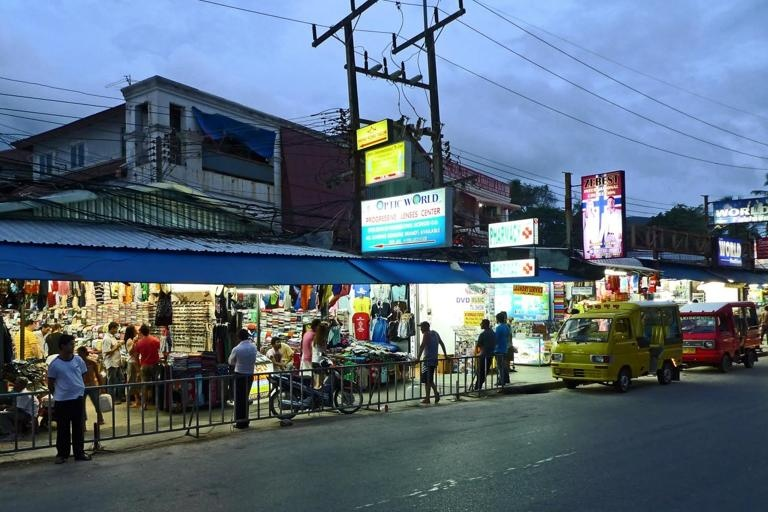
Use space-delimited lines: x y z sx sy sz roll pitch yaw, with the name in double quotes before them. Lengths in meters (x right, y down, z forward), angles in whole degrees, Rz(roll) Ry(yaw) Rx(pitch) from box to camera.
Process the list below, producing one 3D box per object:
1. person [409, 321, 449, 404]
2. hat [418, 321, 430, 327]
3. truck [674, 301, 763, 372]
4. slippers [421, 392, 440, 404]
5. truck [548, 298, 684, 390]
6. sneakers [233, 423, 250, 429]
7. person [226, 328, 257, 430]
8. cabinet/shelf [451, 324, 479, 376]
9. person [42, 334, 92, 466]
"person" 1.398 3.175 25.508 0.730 2.418 1.564 -2 -7 4
"hat" 1.238 2.054 25.368 0.237 0.165 0.329 7 17 39
"truck" 12.383 2.987 31.596 2.155 2.004 3.590 -10 -14 43
"slippers" 1.359 4.239 25.116 0.674 0.466 0.225 1 -7 -1
"truck" 7.646 2.957 27.896 4.446 2.420 2.392 5 -9 -40
"sneakers" -3.756 4.413 22.101 0.434 0.147 0.265 0 -6 -14
"person" -3.768 3.196 22.217 0.653 2.568 0.758 0 -7 -10
"cabinet/shelf" 3.226 3.502 31.470 1.432 1.989 1.339 2 -7 -5
"person" -7.396 3.269 19.721 0.942 2.898 0.500 1 -7 -21
